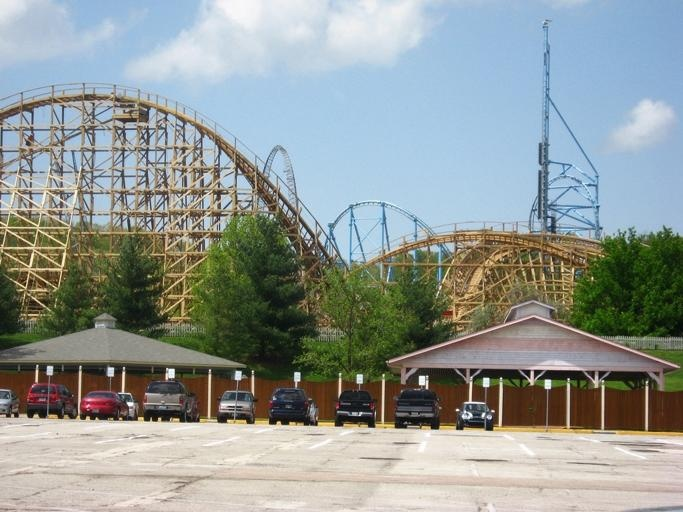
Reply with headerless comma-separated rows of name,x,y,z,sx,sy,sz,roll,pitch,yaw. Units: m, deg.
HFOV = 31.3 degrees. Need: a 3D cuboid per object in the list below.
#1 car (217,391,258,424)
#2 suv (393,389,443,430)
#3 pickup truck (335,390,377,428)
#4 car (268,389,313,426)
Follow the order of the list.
car,-4.743,6.746,55.397,1.085,0.942,2.021,1,3,-3
suv,3.293,6.657,53.360,1.874,1.758,1.172,0,-12,-2
pickup truck,0.604,6.783,54.225,1.723,1.646,0.794,1,-12,-4
car,-2.244,6.553,53.493,1.752,1.475,1.256,-1,-13,1
